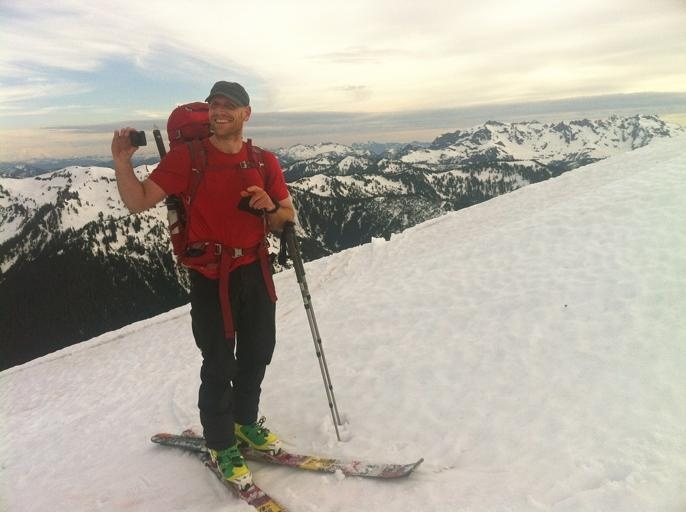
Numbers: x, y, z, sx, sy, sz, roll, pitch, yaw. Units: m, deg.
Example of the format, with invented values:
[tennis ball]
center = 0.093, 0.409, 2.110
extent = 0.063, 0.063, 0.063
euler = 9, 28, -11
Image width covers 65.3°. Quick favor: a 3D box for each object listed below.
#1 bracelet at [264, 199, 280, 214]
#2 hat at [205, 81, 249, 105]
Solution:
[bracelet]
center = -1.330, -0.934, 10.185
extent = 0.194, 0.243, 0.540
euler = 1, 22, 3
[hat]
center = -2.100, -2.925, 9.716
extent = 0.674, 0.459, 0.413
euler = -1, 22, -1
